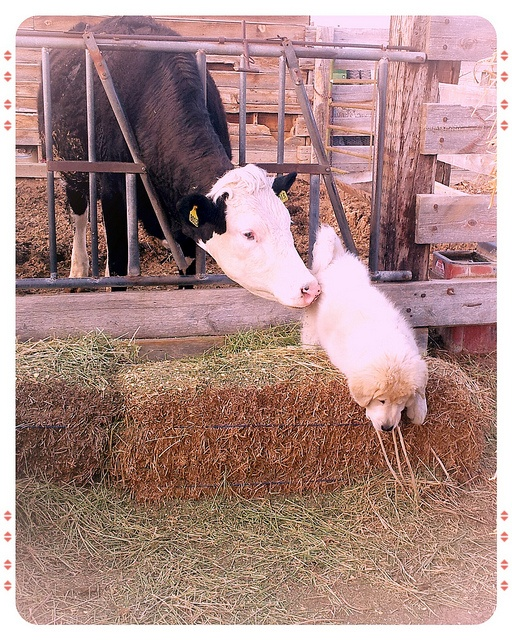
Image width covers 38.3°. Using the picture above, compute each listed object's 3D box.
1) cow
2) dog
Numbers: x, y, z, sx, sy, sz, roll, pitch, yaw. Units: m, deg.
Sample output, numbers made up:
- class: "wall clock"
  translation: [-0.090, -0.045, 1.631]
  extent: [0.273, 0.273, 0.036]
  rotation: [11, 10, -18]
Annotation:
- class: "cow"
  translation: [-0.586, -1.072, 4.213]
  extent: [1.036, 1.728, 2.741]
  rotation: [-4, 11, -16]
- class: "dog"
  translation: [0.469, 0.014, 3.511]
  extent: [0.448, 1.033, 0.521]
  rotation: [-24, -32, 1]
